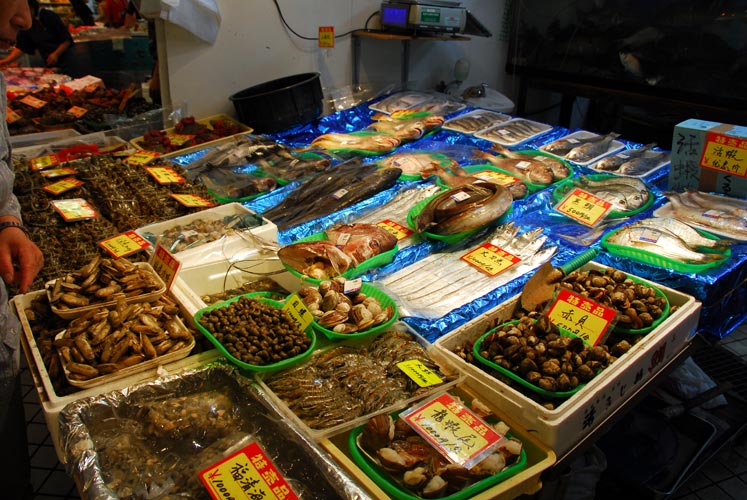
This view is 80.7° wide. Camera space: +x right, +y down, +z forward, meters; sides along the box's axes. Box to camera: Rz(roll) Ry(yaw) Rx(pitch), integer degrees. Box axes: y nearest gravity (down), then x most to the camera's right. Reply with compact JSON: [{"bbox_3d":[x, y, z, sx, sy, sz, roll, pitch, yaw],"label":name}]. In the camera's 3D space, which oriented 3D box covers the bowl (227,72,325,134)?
[{"bbox_3d":[-0.845,-1.356,4.207,0.828,0.585,1.040,-21,32,-37],"label":"bowl"}]
